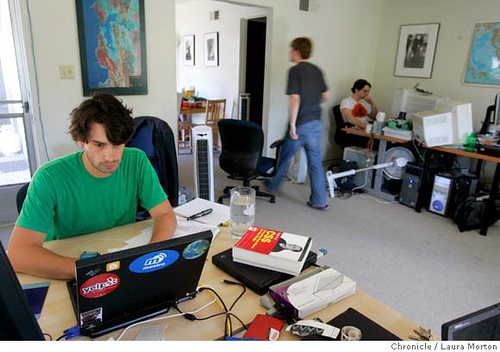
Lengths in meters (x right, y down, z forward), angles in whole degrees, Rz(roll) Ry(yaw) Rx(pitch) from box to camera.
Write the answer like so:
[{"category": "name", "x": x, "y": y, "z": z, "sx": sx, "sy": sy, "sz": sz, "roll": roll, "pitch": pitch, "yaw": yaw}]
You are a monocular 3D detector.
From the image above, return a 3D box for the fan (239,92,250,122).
[{"category": "fan", "x": -0.093, "y": -1.253, "z": 6.342, "sx": 0.183, "sy": 0.512, "sz": 0.299, "roll": 0, "pitch": 19, "yaw": 6}]

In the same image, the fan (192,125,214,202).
[{"category": "fan", "x": -0.465, "y": -0.126, "z": 3.532, "sx": 0.213, "sy": 0.758, "sz": 0.216, "roll": -6, "pitch": 19, "yaw": -9}]

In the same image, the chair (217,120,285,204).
[{"category": "chair", "x": -0.038, "y": -0.195, "z": 4.029, "sx": 0.764, "sy": 0.971, "sz": 0.650, "roll": 15, "pitch": 24, "yaw": 36}]

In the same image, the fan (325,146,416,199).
[{"category": "fan", "x": 1.486, "y": -0.025, "z": 4.327, "sx": 1.056, "sy": 0.642, "sz": 0.671, "roll": 1, "pitch": 19, "yaw": 10}]

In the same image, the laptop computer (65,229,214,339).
[{"category": "laptop computer", "x": -0.469, "y": 0.333, "z": 1.425, "sx": 0.505, "sy": 0.392, "sz": 0.384, "roll": -13, "pitch": 37, "yaw": -39}]

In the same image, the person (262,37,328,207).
[{"category": "person", "x": 0.555, "y": -0.579, "z": 3.983, "sx": 0.637, "sy": 1.852, "sz": 0.397, "roll": 1, "pitch": 19, "yaw": 10}]

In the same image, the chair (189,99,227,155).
[{"category": "chair", "x": -0.776, "y": -0.896, "z": 6.390, "sx": 0.637, "sy": 0.952, "sz": 0.669, "roll": -4, "pitch": 13, "yaw": -22}]

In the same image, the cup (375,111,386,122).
[{"category": "cup", "x": 1.639, "y": -0.743, "z": 4.407, "sx": 0.090, "sy": 0.105, "sz": 0.095, "roll": -2, "pitch": 19, "yaw": 1}]

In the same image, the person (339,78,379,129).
[{"category": "person", "x": 1.567, "y": -1.061, "z": 5.080, "sx": 0.514, "sy": 0.643, "sz": 0.937, "roll": 4, "pitch": 19, "yaw": 18}]

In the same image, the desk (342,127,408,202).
[{"category": "desk", "x": 1.617, "y": -0.118, "z": 4.499, "sx": 0.254, "sy": 0.688, "sz": 0.797, "roll": -29, "pitch": 40, "yaw": -35}]
